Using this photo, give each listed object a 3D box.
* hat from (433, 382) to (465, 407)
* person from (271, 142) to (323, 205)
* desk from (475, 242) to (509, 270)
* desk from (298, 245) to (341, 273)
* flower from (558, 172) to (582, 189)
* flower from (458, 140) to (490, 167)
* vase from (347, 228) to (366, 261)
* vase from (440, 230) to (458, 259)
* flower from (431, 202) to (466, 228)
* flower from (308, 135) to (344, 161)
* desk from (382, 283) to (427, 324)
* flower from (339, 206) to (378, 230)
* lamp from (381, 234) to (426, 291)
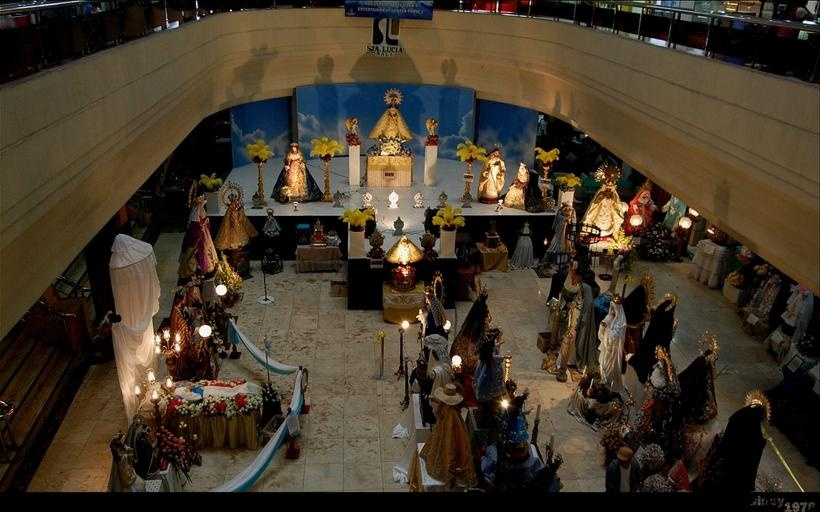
[{"bbox_3d":[0.529,1.949,7.639,0.370,0.115,0.354,25,29,33],"label":"hat"},{"bbox_3d":[-3.430,-2.456,16.405,1.386,1.759,0.443,-1,11,-14],"label":"person"},{"bbox_3d":[2.295,0.079,15.078,0.743,0.521,0.729,-1,28,2],"label":"desk"},{"bbox_3d":[-2.484,0.087,14.618,0.841,0.477,0.833,-1,32,-8],"label":"desk"},{"bbox_3d":[4.780,-2.213,16.225,0.635,0.248,0.628,2,32,0],"label":"flower"},{"bbox_3d":[1.935,-3.170,17.275,1.162,0.525,1.154,6,34,5],"label":"flower"},{"bbox_3d":[-1.258,-0.287,13.264,0.434,0.694,0.396,1,10,-5],"label":"vase"},{"bbox_3d":[0.918,-0.341,13.533,0.606,0.758,0.602,1,32,3],"label":"vase"},{"bbox_3d":[0.969,-0.930,13.721,0.757,0.309,0.751,0,26,3],"label":"flower"},{"bbox_3d":[-2.873,-3.629,18.293,1.179,0.422,1.169,6,31,3],"label":"flower"},{"bbox_3d":[-0.171,1.135,12.836,1.057,0.715,0.807,-1,26,-4],"label":"desk"},{"bbox_3d":[-1.292,-0.829,13.429,0.690,0.319,0.683,3,23,5],"label":"flower"},{"bbox_3d":[-0.106,0.185,13.253,1.199,1.460,1.200,5,32,6],"label":"lamp"}]
